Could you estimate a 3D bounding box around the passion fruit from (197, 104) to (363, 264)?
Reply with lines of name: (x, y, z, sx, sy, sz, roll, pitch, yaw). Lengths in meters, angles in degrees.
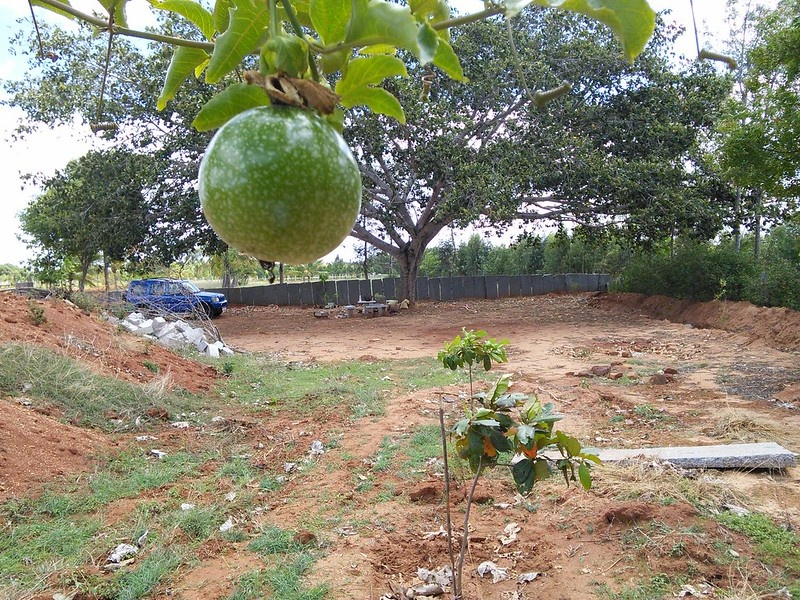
passion fruit: (-0.363, -0.357, 1.746, 0.464, 0.487, 0.486, 1, 7, 28)
